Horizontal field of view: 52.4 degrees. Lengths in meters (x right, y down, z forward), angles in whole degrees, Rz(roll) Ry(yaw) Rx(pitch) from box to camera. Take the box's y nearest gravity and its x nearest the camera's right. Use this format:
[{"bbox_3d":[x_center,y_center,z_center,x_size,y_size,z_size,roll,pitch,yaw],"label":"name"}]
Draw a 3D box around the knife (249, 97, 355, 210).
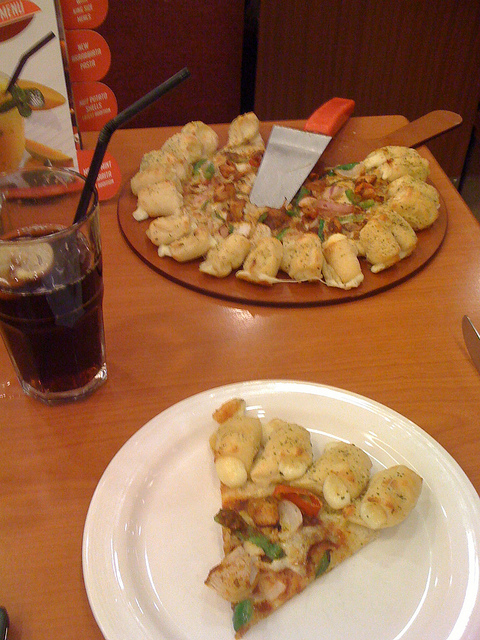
[{"bbox_3d":[0.138,-0.413,1.156,0.116,0.063,0.529,12,41,5],"label":"knife"}]
